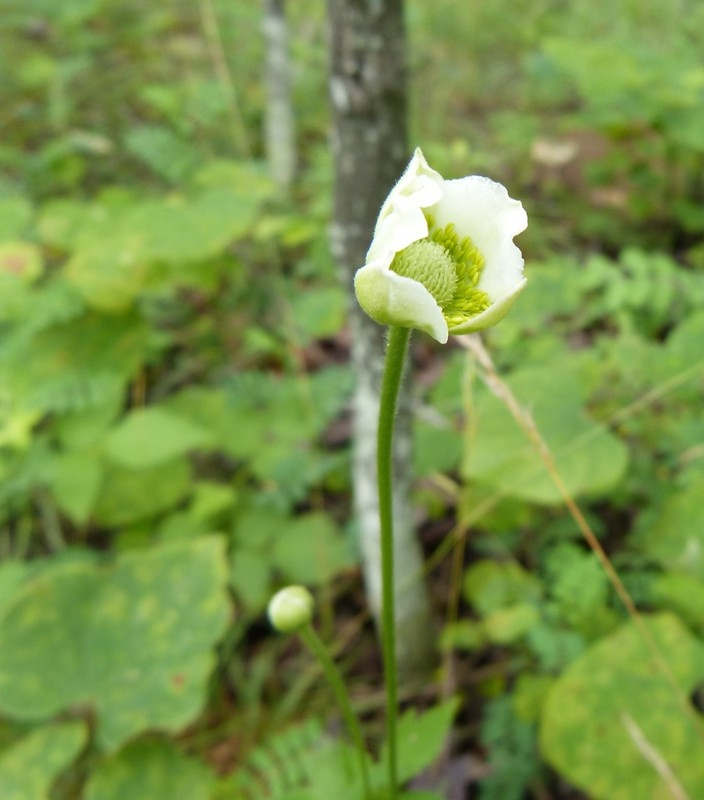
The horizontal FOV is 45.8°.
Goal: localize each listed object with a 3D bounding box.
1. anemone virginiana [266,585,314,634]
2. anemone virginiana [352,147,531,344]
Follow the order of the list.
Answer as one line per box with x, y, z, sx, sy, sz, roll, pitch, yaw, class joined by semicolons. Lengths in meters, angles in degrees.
-0.052;0.188;0.747;0.039;0.051;0.038;-18;75;0;anemone virginiana
0.077;-0.112;0.641;0.119;0.072;0.153;18;77;8;anemone virginiana
